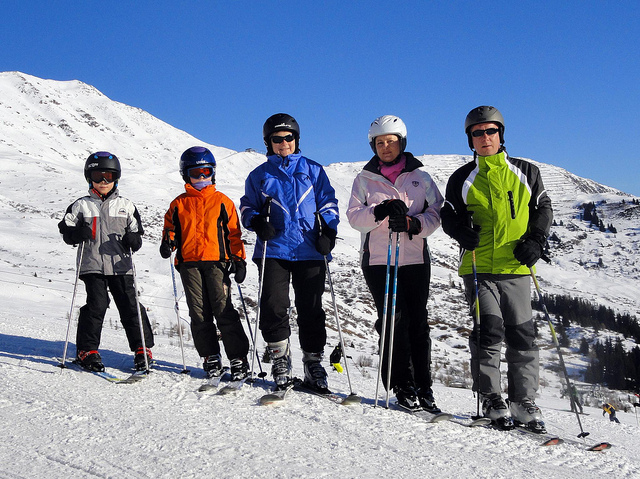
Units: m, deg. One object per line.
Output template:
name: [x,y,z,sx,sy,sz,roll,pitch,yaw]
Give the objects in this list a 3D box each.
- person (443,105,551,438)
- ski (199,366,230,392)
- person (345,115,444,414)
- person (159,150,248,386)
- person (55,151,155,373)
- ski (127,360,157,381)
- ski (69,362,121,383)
person: [2.236,0.314,7.601,1.268,4.106,0.814,0,-3,20]
ski: [-1.381,1.819,7.886,0.157,0.091,0.772,-1,4,10]
person: [1.022,0.244,7.953,1.175,3.831,0.851,1,-3,10]
person: [-1.564,0.290,8.345,1.183,3.178,0.893,2,-3,-14]
person: [-3.018,0.242,8.543,1.305,3.087,0.821,2,-3,-18]
ski: [-2.436,1.783,8.246,0.147,0.103,1.317,4,-2,-6]
ski: [-3.043,1.697,8.129,1.094,0.056,0.161,10,15,37]
